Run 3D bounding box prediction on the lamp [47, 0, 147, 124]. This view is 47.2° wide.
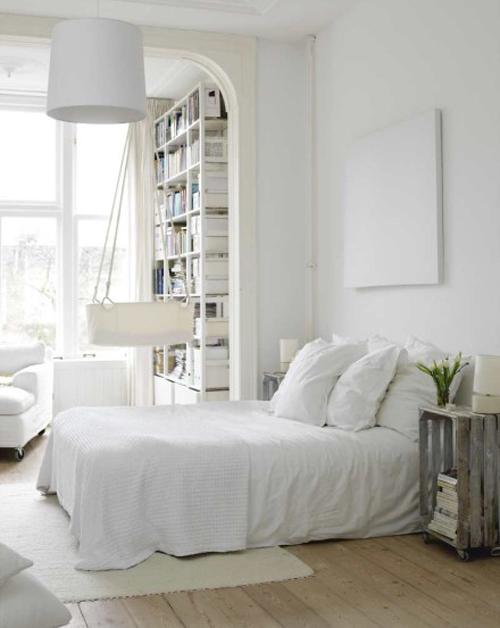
[{"bbox_3d":[-0.657,-1.034,2.483,0.429,0.345,0.449,-3,8,-18],"label":"lamp"}]

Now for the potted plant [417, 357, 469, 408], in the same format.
[{"bbox_3d":[0.814,0.294,2.449,0.176,0.190,0.176,-6,-18,32],"label":"potted plant"}]

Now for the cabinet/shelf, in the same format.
[{"bbox_3d":[-0.512,-0.646,4.977,0.528,2.696,1.394,1,-5,-15],"label":"cabinet/shelf"}]

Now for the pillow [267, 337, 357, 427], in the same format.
[{"bbox_3d":[0.338,0.328,2.884,0.123,0.415,0.365,32,-16,-21],"label":"pillow"}]

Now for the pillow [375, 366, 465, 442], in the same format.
[{"bbox_3d":[0.781,0.391,2.628,0.094,0.322,0.319,21,0,-19],"label":"pillow"}]

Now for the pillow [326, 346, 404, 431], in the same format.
[{"bbox_3d":[0.524,0.351,2.711,0.160,0.329,0.535,27,-5,-13],"label":"pillow"}]
